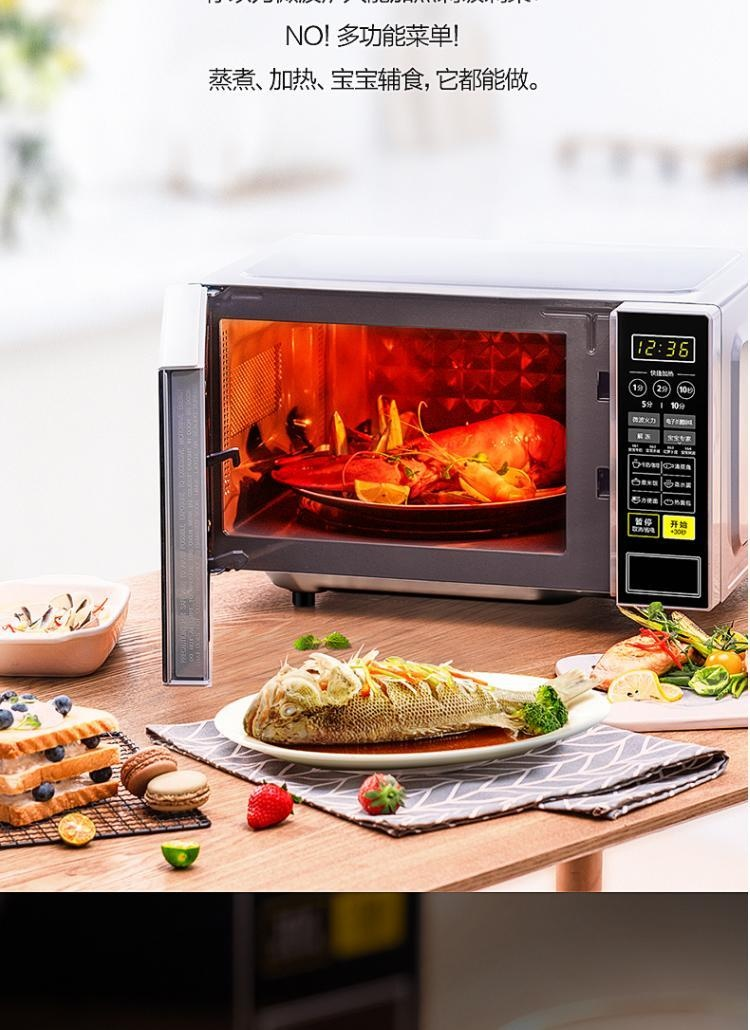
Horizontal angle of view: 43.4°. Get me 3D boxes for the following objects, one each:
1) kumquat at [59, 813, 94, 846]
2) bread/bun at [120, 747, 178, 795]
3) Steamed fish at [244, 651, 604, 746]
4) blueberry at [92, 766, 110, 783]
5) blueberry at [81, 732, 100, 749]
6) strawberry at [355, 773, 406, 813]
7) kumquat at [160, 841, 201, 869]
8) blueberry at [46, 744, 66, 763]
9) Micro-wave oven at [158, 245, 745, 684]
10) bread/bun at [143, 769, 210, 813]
[{"bbox_3d":[-0.177,0.189,0.561,0.020,0.015,0.024,-2,7,-14],"label":"kumquat"},{"bbox_3d":[-0.150,0.166,0.620,0.033,0.021,0.033,-33,-17,18],"label":"bread/bun"},{"bbox_3d":[0.041,0.138,0.703,0.262,0.086,0.062,-5,50,-8],"label":"Steamed fish"},{"bbox_3d":[-0.180,0.172,0.631,0.012,0.010,0.011,-1,20,5],"label":"blueberry"},{"bbox_3d":[-0.190,0.153,0.634,0.012,0.009,0.010,-29,-1,-25],"label":"blueberry"},{"bbox_3d":[0.004,0.176,0.615,0.028,0.022,0.065,-1,7,-2],"label":"strawberry"},{"bbox_3d":[-0.107,0.186,0.518,0.018,0.010,0.017,5,-9,6],"label":"kumquat"},{"bbox_3d":[-0.206,0.155,0.616,0.011,0.009,0.012,-27,9,-15],"label":"blueberry"},{"bbox_3d":[0.142,-0.095,1.124,0.673,0.490,0.435,3,21,26],"label":"Micro-wave oven"},{"bbox_3d":[-0.126,0.180,0.606,0.036,0.022,0.032,-5,8,-33],"label":"bread/bun"}]
